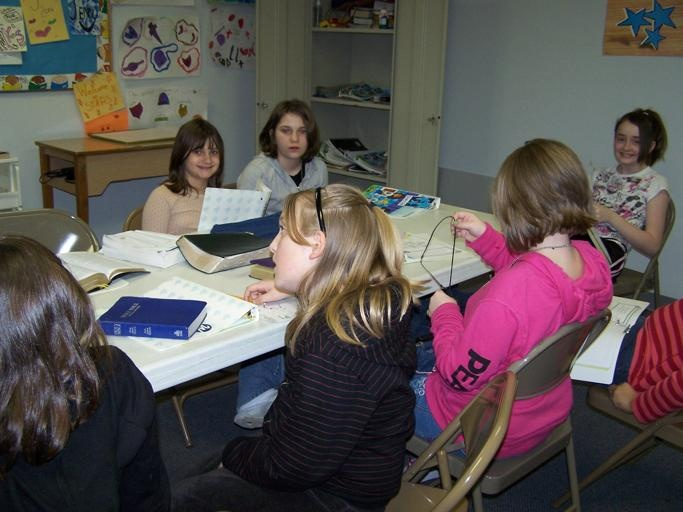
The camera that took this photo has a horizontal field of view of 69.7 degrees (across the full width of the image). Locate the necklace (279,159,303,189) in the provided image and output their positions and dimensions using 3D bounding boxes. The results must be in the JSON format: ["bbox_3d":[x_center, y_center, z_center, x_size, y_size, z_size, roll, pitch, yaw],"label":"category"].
[{"bbox_3d":[-0.258,-0.438,2.692,0.077,0.113,0.035,-7,-5,32],"label":"necklace"}]

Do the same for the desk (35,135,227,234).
[{"bbox_3d":[-1.612,-0.458,3.885,0.656,0.881,1.260,14,20,25],"label":"desk"}]

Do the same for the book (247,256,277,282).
[{"bbox_3d":[-0.254,0.042,1.667,0.076,0.019,0.078,17,24,34],"label":"book"}]

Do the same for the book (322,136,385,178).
[{"bbox_3d":[0.136,-0.773,4.160,0.423,0.160,0.423,22,24,36],"label":"book"}]

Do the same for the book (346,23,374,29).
[{"bbox_3d":[0.138,-1.838,3.881,0.222,0.065,0.067,9,16,25],"label":"book"}]
